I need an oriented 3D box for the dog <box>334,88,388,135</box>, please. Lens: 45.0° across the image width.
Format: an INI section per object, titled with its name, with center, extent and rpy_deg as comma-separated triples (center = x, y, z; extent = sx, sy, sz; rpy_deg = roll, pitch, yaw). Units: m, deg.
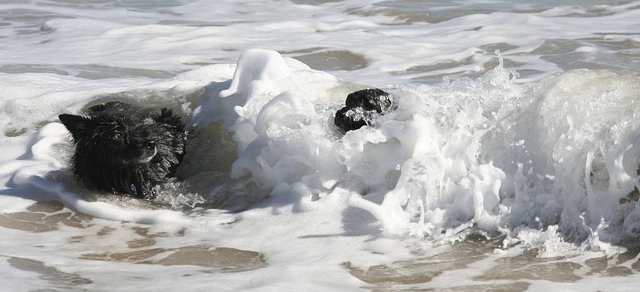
[dog]
center = 1.405, -1.213, 27.327
extent = 1.900, 1.371, 0.821
rpy_deg = -19, 30, -20
